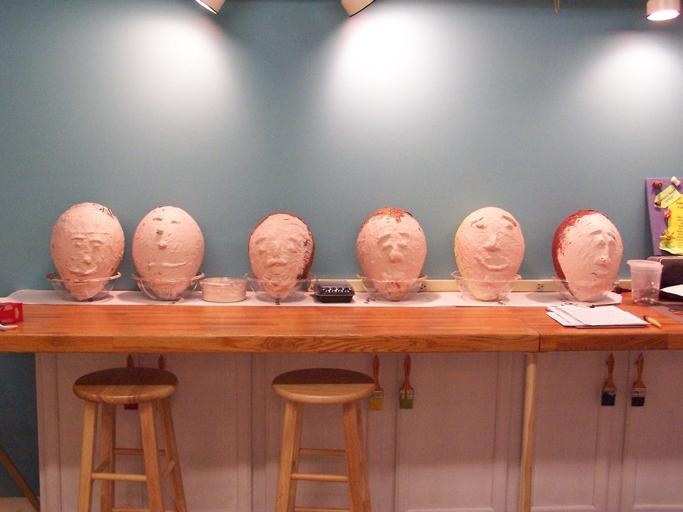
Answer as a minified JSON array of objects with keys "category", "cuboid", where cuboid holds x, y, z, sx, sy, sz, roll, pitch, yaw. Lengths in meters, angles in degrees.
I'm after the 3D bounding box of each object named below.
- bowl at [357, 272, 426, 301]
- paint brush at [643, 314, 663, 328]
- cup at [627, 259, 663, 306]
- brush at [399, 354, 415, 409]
[{"category":"bowl","cuboid":[0.229,0.149,2.641,0.172,0.076,0.179,3,2,0]},{"category":"paint brush","cuboid":[1.305,0.274,2.376,0.025,0.026,0.098,-23,19,1]},{"category":"cup","cuboid":[1.363,0.126,2.607,0.179,0.200,0.176,0,-1,0]},{"category":"brush","cuboid":[0.302,0.577,2.582,0.071,0.263,0.038,0,5,5]}]
